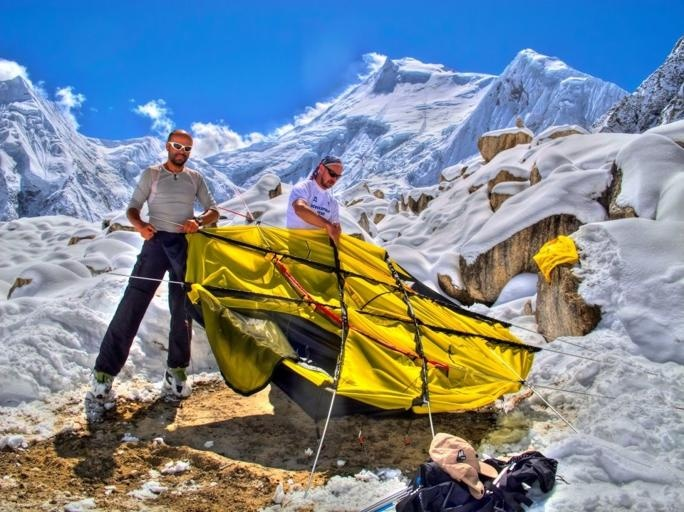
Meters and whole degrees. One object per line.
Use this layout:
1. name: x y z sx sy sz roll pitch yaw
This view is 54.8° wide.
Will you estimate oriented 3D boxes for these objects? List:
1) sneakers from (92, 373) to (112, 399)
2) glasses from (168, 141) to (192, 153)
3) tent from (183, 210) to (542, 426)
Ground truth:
1. sneakers: -3.413 1.819 9.374 0.275 0.346 0.223 8 12 -12
2. glasses: -2.316 -1.558 9.473 0.274 0.125 0.157 4 12 -21
3. tent: -0.221 0.808 10.390 6.376 1.354 4.869 9 27 -28
